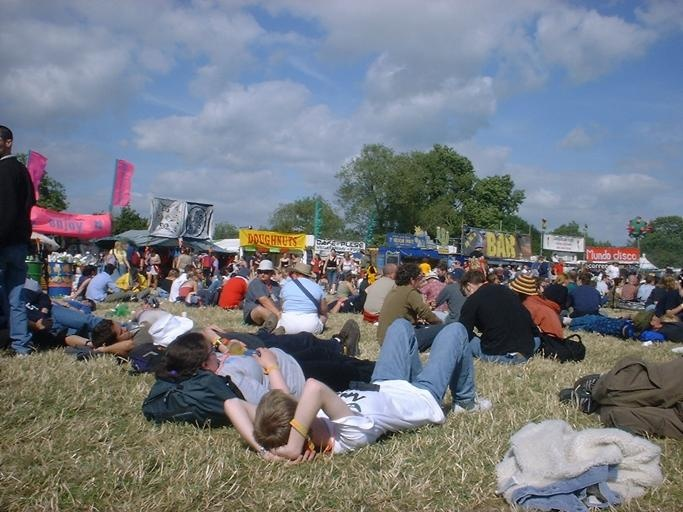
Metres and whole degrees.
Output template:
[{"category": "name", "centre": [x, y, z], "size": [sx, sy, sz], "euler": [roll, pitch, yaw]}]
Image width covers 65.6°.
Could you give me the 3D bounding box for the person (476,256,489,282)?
[{"category": "person", "centre": [3.550, 0.308, 13.409], "size": [0.262, 0.903, 0.495], "euler": [-4, 2, 15]}]

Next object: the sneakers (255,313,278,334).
[{"category": "sneakers", "centre": [-1.407, 1.271, 10.033], "size": [0.254, 0.316, 0.175], "euler": [27, -18, 7]}]

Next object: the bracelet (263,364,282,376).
[{"category": "bracelet", "centre": [-0.712, 1.140, 5.222], "size": [0.150, 0.051, 0.126], "euler": [-14, -4, 28]}]

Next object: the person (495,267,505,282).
[{"category": "person", "centre": [5.825, 0.685, 19.583], "size": [0.351, 0.427, 1.093], "euler": [13, 1, 12]}]

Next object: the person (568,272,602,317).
[{"category": "person", "centre": [5.843, 0.888, 12.798], "size": [0.779, 1.145, 0.804], "euler": [0, 19, 32]}]

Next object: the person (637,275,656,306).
[{"category": "person", "centre": [9.453, 1.121, 16.560], "size": [0.398, 1.044, 1.105], "euler": [10, 16, 29]}]

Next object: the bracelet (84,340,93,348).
[{"category": "bracelet", "centre": [-3.611, 1.262, 7.575], "size": [0.101, 0.044, 0.137], "euler": [3, 2, 19]}]

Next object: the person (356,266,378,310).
[{"category": "person", "centre": [0.590, 1.070, 14.404], "size": [0.446, 1.229, 0.391], "euler": [-18, 42, -41]}]

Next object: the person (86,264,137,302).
[{"category": "person", "centre": [-6.313, 0.775, 14.036], "size": [0.919, 1.067, 1.224], "euler": [5, 11, 22]}]

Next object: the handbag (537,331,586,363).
[{"category": "handbag", "centre": [3.444, 1.418, 8.292], "size": [0.779, 0.487, 0.438], "euler": [-1, 14, -15]}]

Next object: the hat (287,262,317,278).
[{"category": "hat", "centre": [-0.738, 0.273, 10.298], "size": [0.374, 0.165, 0.436], "euler": [5, -11, 39]}]

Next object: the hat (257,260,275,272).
[{"category": "hat", "centre": [-1.960, 0.266, 13.608], "size": [0.396, 0.204, 0.538], "euler": [0, -1, -1]}]

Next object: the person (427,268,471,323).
[{"category": "person", "centre": [2.186, 0.732, 10.682], "size": [0.686, 1.065, 0.743], "euler": [18, 25, 40]}]

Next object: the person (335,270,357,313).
[{"category": "person", "centre": [0.222, 1.113, 15.341], "size": [0.759, 1.338, 0.511], "euler": [-6, 22, -30]}]

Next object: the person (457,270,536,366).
[{"category": "person", "centre": [2.300, 0.816, 8.130], "size": [1.124, 1.144, 1.392], "euler": [-17, 26, -2]}]

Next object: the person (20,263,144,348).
[{"category": "person", "centre": [-3.779, 0.866, 7.578], "size": [1.644, 0.680, 0.953], "euler": [6, 15, -9]}]

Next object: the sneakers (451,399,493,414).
[{"category": "sneakers", "centre": [1.442, 1.647, 5.959], "size": [0.473, 0.203, 0.160], "euler": [-4, 1, -13]}]

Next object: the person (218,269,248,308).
[{"category": "person", "centre": [-2.849, 0.997, 13.865], "size": [0.684, 0.786, 0.798], "euler": [-1, 14, -14]}]

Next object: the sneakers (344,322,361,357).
[{"category": "sneakers", "centre": [0.157, 1.243, 8.042], "size": [0.259, 0.574, 0.210], "euler": [0, 1, -35]}]

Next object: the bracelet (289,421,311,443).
[{"category": "bracelet", "centre": [-0.362, 1.527, 4.643], "size": [0.159, 0.038, 0.152], "euler": [34, -2, 8]}]

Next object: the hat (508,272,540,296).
[{"category": "hat", "centre": [3.202, 0.493, 9.151], "size": [0.525, 0.269, 0.515], "euler": [11, 6, 4]}]

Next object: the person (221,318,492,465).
[{"category": "person", "centre": [0.214, 1.374, 5.227], "size": [2.131, 0.748, 1.195], "euler": [-4, -8, -33]}]
